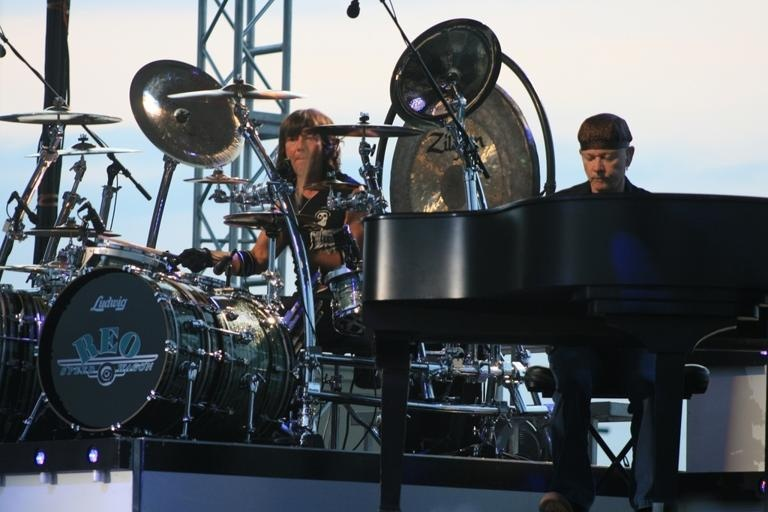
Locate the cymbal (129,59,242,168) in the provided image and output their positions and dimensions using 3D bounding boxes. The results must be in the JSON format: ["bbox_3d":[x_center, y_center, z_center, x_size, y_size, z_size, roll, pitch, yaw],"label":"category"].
[{"bbox_3d":[-1.679,-1.174,18.298,0.961,0.902,0.204,22,-48,-28],"label":"cymbal"}]

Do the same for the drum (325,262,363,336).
[{"bbox_3d":[-0.322,0.347,17.502,0.308,0.489,0.588,1,-10,-1],"label":"drum"}]

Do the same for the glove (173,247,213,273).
[{"bbox_3d":[-1.540,0.039,17.758,0.259,0.176,0.117,2,14,-9],"label":"glove"}]

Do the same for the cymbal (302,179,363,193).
[{"bbox_3d":[-0.410,-0.568,17.776,0.213,0.058,0.203,5,-10,-25],"label":"cymbal"}]

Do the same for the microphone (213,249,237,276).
[{"bbox_3d":[-1.294,0.064,17.615,0.147,0.195,0.095,16,-5,29],"label":"microphone"}]

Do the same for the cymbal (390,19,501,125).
[{"bbox_3d":[0.517,-1.498,17.446,0.899,0.835,0.234,-11,-2,18],"label":"cymbal"}]

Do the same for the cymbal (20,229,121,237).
[{"bbox_3d":[-2.723,-0.193,18.380,0.295,0.036,0.287,-2,-6,12],"label":"cymbal"}]
